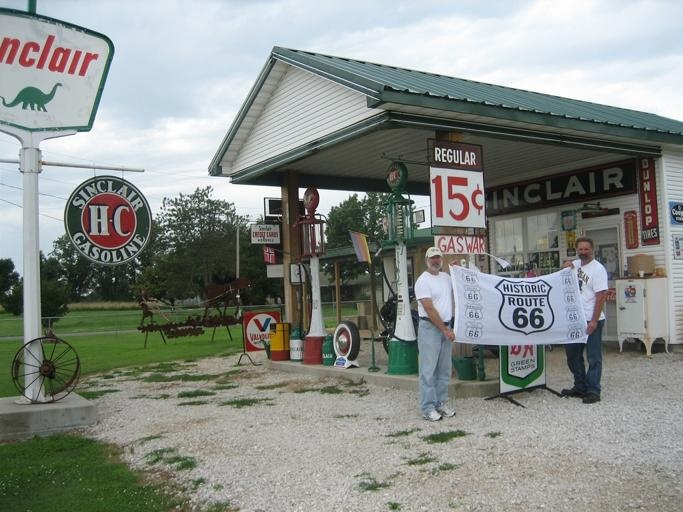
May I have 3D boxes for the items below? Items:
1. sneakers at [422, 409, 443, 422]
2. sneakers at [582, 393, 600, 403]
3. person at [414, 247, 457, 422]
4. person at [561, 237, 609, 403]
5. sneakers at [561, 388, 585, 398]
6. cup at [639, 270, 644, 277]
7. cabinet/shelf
[{"bbox_3d":[1.347,2.304,9.138,0.121,0.133,0.261,3,-10,-36],"label":"sneakers"},{"bbox_3d":[3.841,2.163,9.628,0.349,0.160,0.120,15,-19,-41],"label":"sneakers"},{"bbox_3d":[1.407,1.118,9.304,0.541,2.513,0.671,-2,-2,10],"label":"person"},{"bbox_3d":[3.840,0.968,9.849,0.667,1.680,0.711,-3,-2,20],"label":"person"},{"bbox_3d":[3.682,2.137,9.953,0.304,0.151,0.130,4,0,18],"label":"sneakers"},{"bbox_3d":[6.747,0.386,14.101,0.115,0.158,0.124,4,-3,0],"label":"cup"},{"bbox_3d":[6.779,1.251,14.199,0.816,1.649,0.831,-3,1,-33],"label":"cabinet/shelf"}]
